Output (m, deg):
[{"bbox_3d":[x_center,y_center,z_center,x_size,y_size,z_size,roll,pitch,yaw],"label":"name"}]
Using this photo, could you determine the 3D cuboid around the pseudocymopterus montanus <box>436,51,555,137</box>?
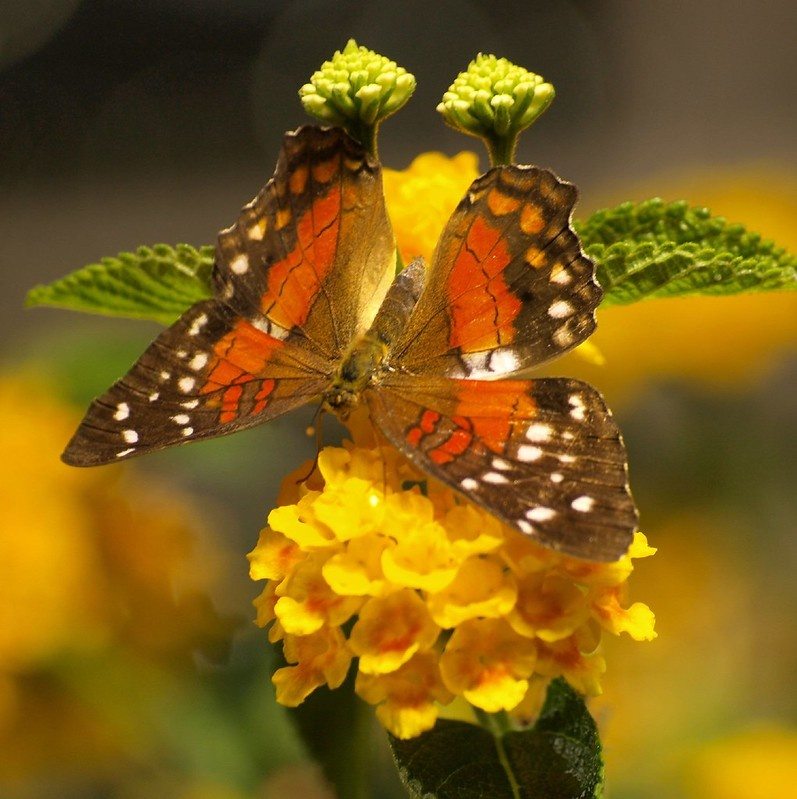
[{"bbox_3d":[0.109,-0.352,1.156,0.170,0.094,0.124,-1,15,-2],"label":"pseudocymopterus montanus"}]

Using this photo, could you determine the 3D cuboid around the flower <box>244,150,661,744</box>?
[{"bbox_3d":[0.054,0.161,1.099,0.478,0.364,0.184,18,-21,4],"label":"flower"}]

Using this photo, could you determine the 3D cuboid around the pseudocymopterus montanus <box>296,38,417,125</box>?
[{"bbox_3d":[-0.048,-0.378,1.162,0.129,0.097,0.056,3,-13,-10],"label":"pseudocymopterus montanus"}]
